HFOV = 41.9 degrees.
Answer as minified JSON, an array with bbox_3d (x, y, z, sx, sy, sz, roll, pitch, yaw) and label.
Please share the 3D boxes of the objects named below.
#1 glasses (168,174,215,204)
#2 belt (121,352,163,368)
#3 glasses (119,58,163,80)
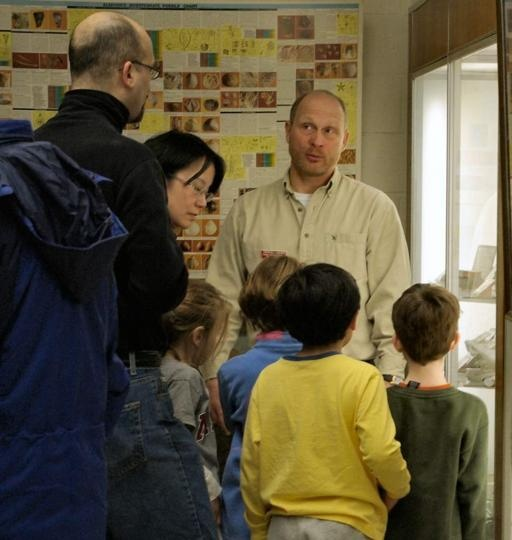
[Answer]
[{"bbox_3d":[-0.218,-0.253,2.149,0.088,0.034,0.092,0,-8,20],"label":"glasses"},{"bbox_3d":[-0.311,0.234,1.777,0.064,0.027,0.049,-2,-2,7],"label":"belt"},{"bbox_3d":[-0.316,-0.573,1.945,0.064,0.040,0.205,5,9,5],"label":"glasses"}]
